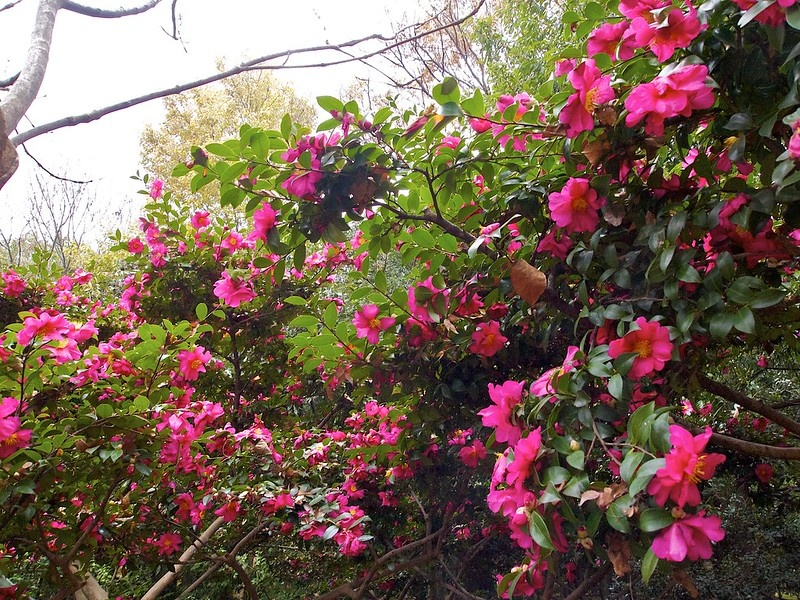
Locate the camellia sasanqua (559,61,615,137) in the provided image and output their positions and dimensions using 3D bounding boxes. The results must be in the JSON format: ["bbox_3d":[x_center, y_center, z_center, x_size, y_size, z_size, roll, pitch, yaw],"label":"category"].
[{"bbox_3d":[0.466,-0.536,1.526,0.167,0.079,0.172,55,-125,-70],"label":"camellia sasanqua"}]
